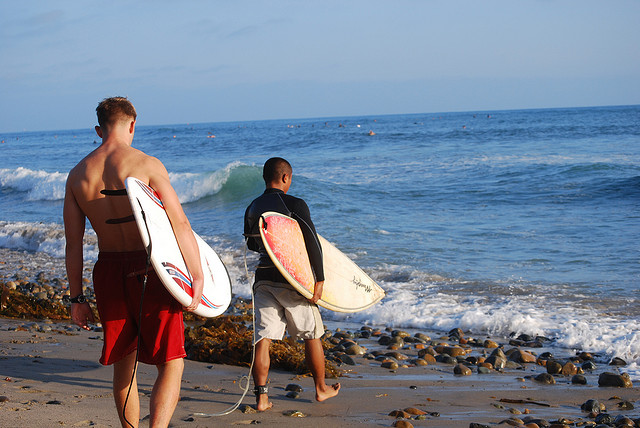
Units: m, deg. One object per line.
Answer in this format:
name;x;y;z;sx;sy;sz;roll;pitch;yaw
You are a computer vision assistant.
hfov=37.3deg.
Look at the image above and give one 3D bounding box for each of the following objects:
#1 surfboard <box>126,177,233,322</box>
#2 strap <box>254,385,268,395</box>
surfboard;-2.000;0.494;13.732;0.866;2.136;1.336;0;7;28
strap;-0.914;2.707;14.399;0.142;0.089;0.169;2;2;9
